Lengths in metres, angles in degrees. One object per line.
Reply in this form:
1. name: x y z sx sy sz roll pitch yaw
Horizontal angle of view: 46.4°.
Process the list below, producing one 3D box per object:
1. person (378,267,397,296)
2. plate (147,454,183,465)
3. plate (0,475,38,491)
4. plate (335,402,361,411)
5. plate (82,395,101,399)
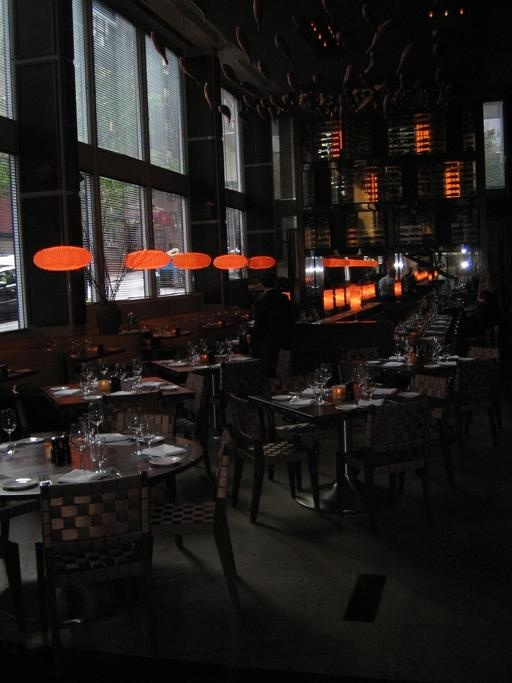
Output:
1. person: 1.782 -0.782 8.207 0.252 0.359 0.758 -2 3 12
2. plate: -0.403 0.522 2.591 0.165 0.014 0.146 -2 3 10
3. plate: -0.907 0.549 2.302 0.130 0.018 0.188 -4 3 -23
4. plate: 0.553 0.406 3.643 0.150 0.019 0.218 -2 3 8
5. plate: -1.244 0.426 4.550 0.129 0.011 0.212 -3 3 -18
